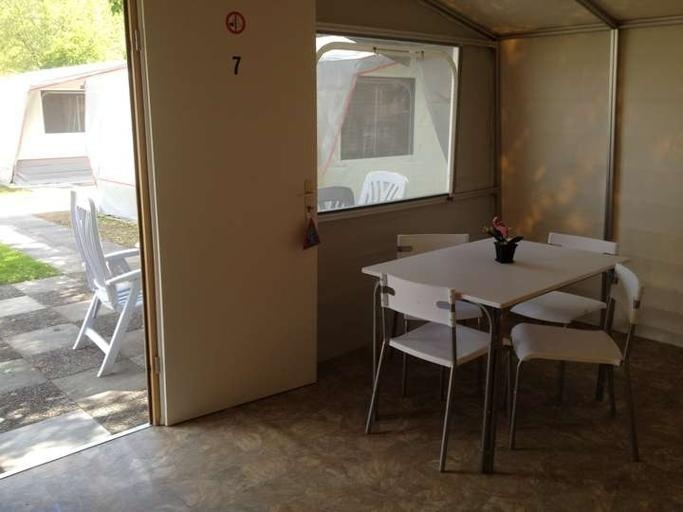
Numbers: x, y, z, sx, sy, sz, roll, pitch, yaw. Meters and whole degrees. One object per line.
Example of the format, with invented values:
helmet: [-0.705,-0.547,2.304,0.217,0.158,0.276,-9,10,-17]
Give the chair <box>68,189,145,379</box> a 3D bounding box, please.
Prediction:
chair: [-1.578,0.188,3.995,0.749,1.141,0.629,-5,14,-44]

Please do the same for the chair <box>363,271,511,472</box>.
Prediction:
chair: [0.493,0.528,2.800,0.521,0.883,0.554,-10,14,-40]

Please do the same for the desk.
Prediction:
desk: [0.872,0.722,3.238,1.097,1.108,1.468,17,27,41]

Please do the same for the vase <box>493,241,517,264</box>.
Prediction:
vase: [0.929,-0.021,3.073,0.118,0.103,0.127,-7,14,-23]

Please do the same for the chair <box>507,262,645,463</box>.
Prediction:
chair: [1.186,0.513,2.753,0.577,0.806,0.450,0,17,12]
